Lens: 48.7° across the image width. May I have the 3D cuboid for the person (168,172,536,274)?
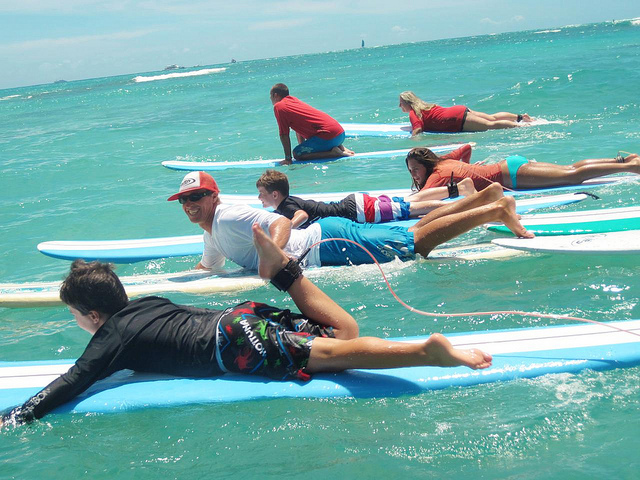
[{"bbox_3d":[0.132,-0.219,7.235,4.005,0.734,1.115,-6,4,2],"label":"person"}]

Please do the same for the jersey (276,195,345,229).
[{"bbox_3d":[-0.136,-0.323,7.749,0.836,0.131,0.371,2,11,-7],"label":"jersey"}]

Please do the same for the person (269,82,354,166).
[{"bbox_3d":[-0.148,-1.887,11.327,1.598,0.963,0.812,6,30,9],"label":"person"}]

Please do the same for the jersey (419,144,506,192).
[{"bbox_3d":[1.733,-0.816,8.396,1.332,0.292,0.618,-5,20,17],"label":"jersey"}]

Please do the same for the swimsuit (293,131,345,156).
[{"bbox_3d":[-0.073,-1.522,11.324,0.683,0.123,0.490,-10,-1,9],"label":"swimsuit"}]

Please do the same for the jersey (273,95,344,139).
[{"bbox_3d":[-0.283,-1.897,11.135,1.105,0.630,0.691,21,48,18],"label":"jersey"}]

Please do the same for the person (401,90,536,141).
[{"bbox_3d":[2.484,-2.169,12.163,2.414,0.583,0.871,7,35,23],"label":"person"}]

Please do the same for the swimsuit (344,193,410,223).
[{"bbox_3d":[0.579,-0.364,8.012,0.818,0.134,0.333,2,12,-9],"label":"swimsuit"}]

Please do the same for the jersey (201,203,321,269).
[{"bbox_3d":[-0.701,-0.039,7.005,1.365,0.729,0.742,-7,10,2],"label":"jersey"}]

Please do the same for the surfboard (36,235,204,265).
[{"bbox_3d":[-2.346,0.118,8.154,1.602,0.138,0.280,-4,39,-6],"label":"surfboard"}]
